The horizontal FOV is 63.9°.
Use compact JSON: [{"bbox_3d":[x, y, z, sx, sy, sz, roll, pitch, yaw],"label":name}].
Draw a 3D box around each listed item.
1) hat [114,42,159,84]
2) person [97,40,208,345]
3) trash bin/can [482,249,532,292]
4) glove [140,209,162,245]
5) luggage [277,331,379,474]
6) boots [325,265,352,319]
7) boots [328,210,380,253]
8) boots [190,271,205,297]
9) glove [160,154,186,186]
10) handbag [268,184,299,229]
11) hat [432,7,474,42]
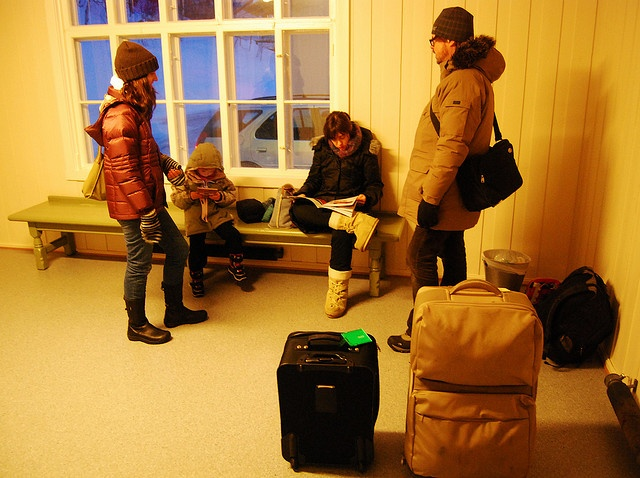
[{"bbox_3d":[-1.100,-1.046,3.023,0.236,0.188,0.231,4,47,26],"label":"hat"},{"bbox_3d":[-1.154,-0.256,3.293,0.479,1.906,0.428,7,18,20],"label":"person"},{"bbox_3d":[1.342,0.214,3.754,0.307,0.256,0.286,-1,10,-1],"label":"trash bin/can"},{"bbox_3d":[-1.032,-0.070,3.110,0.145,0.187,0.073,4,27,-7],"label":"glove"},{"bbox_3d":[0.022,0.755,2.668,0.604,0.781,0.593,0,25,3],"label":"luggage"},{"bbox_3d":[0.127,0.366,3.759,0.178,0.356,0.241,1,17,1],"label":"boots"},{"bbox_3d":[0.238,-0.067,3.709,0.340,0.238,0.236,0,16,-1],"label":"boots"},{"bbox_3d":[-0.963,0.359,4.036,0.081,0.237,0.161,-3,-12,-11],"label":"boots"},{"bbox_3d":[-0.989,-0.457,3.426,0.146,0.202,0.073,5,19,16],"label":"glove"},{"bbox_3d":[-0.254,-0.267,4.157,0.276,0.437,0.402,3,14,1],"label":"handbag"},{"bbox_3d":[0.730,-1.172,2.880,0.206,0.135,0.203,-7,37,-6],"label":"hat"}]
